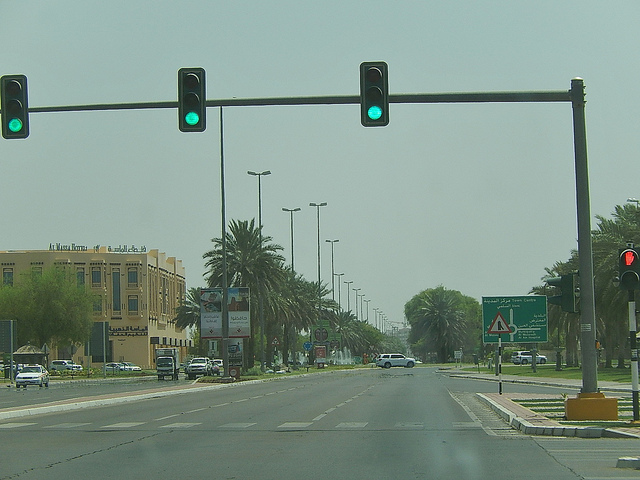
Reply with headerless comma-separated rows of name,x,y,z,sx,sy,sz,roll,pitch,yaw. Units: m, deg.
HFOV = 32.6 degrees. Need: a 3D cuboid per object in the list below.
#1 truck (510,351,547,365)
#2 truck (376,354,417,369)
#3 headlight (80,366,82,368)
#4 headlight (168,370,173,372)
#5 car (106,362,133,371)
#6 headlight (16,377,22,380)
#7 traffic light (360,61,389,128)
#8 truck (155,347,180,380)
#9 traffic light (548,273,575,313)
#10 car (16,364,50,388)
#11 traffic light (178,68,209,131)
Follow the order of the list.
truck,23.006,12.802,119.786,3.856,1.896,1.979,-3,2,-19
truck,8.494,13.974,123.326,3.844,1.773,1.871,-3,-1,-6
headlight,-26.048,13.809,119.224,0.281,0.208,0.338,2,2,14
headlight,-11.931,10.406,87.233,0.379,0.182,0.166,9,-17,-37
car,-23.260,14.604,126.524,2.167,0.987,1.157,-7,-7,19
headlight,-20.292,9.293,73.886,0.173,0.188,0.701,7,-18,-33
traffic light,1.750,-4.695,35.847,0.893,2.552,0.414,-2,-30,3
truck,-12.375,9.973,88.668,1.028,1.976,3.205,-1,-15,1
traffic light,8.466,1.726,38.672,0.910,0.484,1.670,2,-56,20
car,-19.574,9.225,75.020,1.053,1.035,2.589,0,-12,-4
traffic light,-4.246,-4.568,36.175,0.856,2.431,0.556,-1,-26,-7
